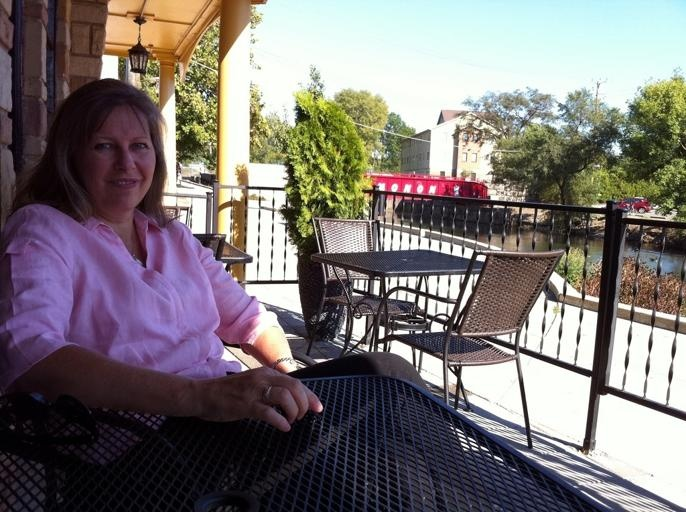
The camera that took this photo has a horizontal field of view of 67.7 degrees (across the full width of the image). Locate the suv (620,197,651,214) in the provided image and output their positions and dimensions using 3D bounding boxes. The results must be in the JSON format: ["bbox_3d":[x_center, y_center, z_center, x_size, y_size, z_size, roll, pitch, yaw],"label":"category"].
[{"bbox_3d":[30.251,-5.343,52.964,2.546,1.626,5.061,8,10,30],"label":"suv"}]

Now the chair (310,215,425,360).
[{"bbox_3d":[0.195,0.039,4.706,0.834,1.483,1.065,4,-25,-18],"label":"chair"}]

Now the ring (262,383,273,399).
[{"bbox_3d":[-0.185,0.331,1.248,0.023,0.025,0.025,37,-3,2],"label":"ring"}]

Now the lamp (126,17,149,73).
[{"bbox_3d":[-4.183,-4.309,10.472,0.373,1.021,0.437,4,7,3],"label":"lamp"}]

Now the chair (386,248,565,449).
[{"bbox_3d":[0.834,0.514,3.632,0.873,1.621,1.152,-2,18,-19],"label":"chair"}]
